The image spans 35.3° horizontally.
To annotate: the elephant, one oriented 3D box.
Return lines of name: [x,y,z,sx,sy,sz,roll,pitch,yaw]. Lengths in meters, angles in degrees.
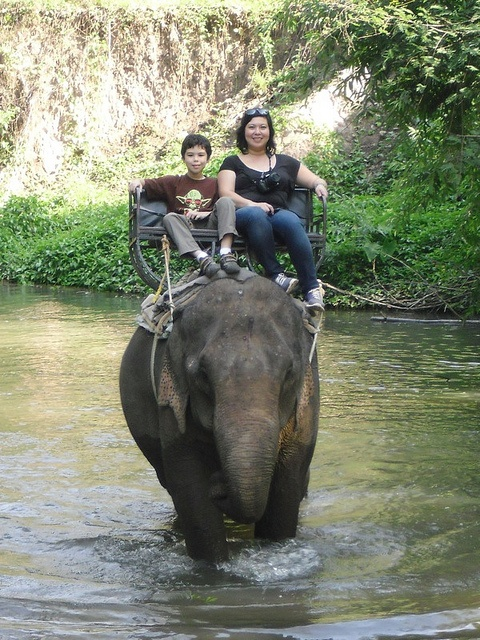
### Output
elephant: [-0.041,0.376,2.666,0.671,1.059,1.340,0,-1,-6]

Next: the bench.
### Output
bench: [-0.055,-0.367,3.612,0.934,0.402,0.305,-5,0,-1]

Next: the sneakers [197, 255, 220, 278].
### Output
sneakers: [-0.102,-0.187,2.747,0.056,0.054,0.139,-17,13,-16]

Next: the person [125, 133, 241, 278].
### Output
person: [-0.227,-0.579,3.676,0.645,0.650,0.592,-2,9,-16]
